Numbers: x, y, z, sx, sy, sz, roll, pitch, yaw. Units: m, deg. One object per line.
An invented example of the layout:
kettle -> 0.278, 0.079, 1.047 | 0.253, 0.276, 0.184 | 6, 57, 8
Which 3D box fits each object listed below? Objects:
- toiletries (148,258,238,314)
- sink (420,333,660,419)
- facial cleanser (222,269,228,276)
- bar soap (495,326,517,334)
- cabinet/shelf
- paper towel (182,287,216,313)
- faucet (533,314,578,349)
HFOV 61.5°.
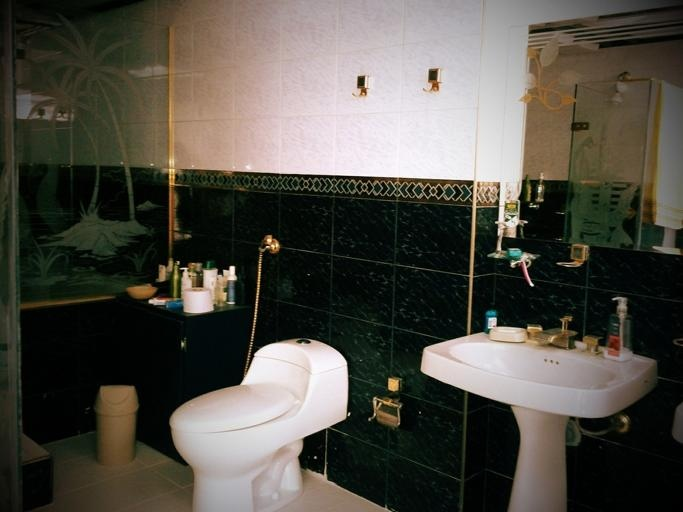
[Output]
toiletries -> -0.973, 0.148, 3.794 | 0.454, 0.361, 0.307 | -2, 11, -45
sink -> 0.851, 0.510, 2.535 | 0.939, 0.153, 0.521 | 5, 9, 31
facial cleanser -> -0.783, 0.108, 3.829 | 0.028, 0.035, 0.051 | -8, 12, -40
bar soap -> 0.788, 0.354, 2.758 | 0.107, 0.020, 0.054 | 4, 8, 21
cabinet/shelf -> -1.020, 0.803, 3.908 | 0.613, 0.971, 0.914 | -6, 12, -43
paper towel -> -0.912, 0.275, 3.647 | 0.188, 0.139, 0.222 | -1, 8, -15
faucet -> 1.001, 0.337, 2.700 | 0.174, 0.152, 0.136 | -6, 7, -36
